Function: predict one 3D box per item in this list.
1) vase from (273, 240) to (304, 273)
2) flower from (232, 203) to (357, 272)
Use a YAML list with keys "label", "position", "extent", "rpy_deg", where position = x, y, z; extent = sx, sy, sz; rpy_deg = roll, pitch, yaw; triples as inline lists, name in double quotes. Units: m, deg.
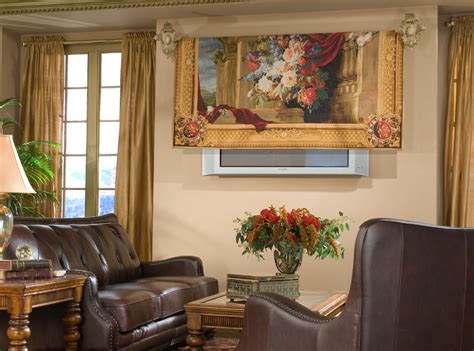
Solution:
- label: "vase"
  position: [0.384, 0.556, 3.340]
  extent: [0.207, 0.303, 0.247]
  rpy_deg: [-2, -5, 31]
- label: "flower"
  position: [0.555, 0.534, 3.915]
  extent: [0.640, 0.418, 0.477]
  rpy_deg: [2, -6, -9]
